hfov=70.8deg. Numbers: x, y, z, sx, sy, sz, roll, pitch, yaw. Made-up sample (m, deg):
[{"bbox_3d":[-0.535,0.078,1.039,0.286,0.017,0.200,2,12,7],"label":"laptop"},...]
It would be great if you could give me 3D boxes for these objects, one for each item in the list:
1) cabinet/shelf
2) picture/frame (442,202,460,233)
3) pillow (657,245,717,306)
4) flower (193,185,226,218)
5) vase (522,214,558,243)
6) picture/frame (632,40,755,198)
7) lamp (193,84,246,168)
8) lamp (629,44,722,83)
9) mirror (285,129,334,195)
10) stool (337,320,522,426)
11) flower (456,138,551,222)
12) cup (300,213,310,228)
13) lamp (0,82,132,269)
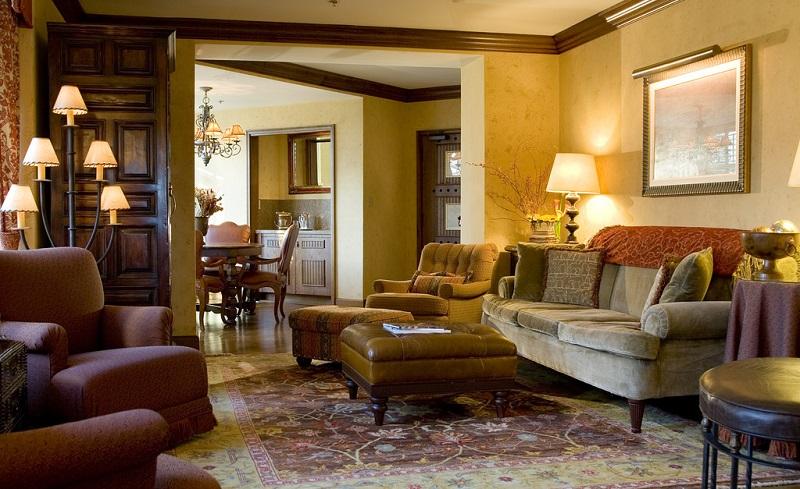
[{"bbox_3d":[-1.632,0.327,8.812,1.377,1.098,0.535,0,-3,16],"label":"cabinet/shelf"},{"bbox_3d":[0.823,-0.440,9.086,0.240,0.441,0.048,3,8,26],"label":"picture/frame"},{"bbox_3d":[2.128,0.236,4.112,0.392,0.400,0.299,0,6,5],"label":"pillow"},{"bbox_3d":[-2.720,-0.575,7.930,0.311,0.378,0.515,-2,6,-20],"label":"flower"},{"bbox_3d":[1.590,-0.169,6.255,0.344,0.251,0.323,-1,-4,8],"label":"vase"},{"bbox_3d":[2.652,-1.062,5.051,0.135,1.204,1.068,-3,7,-23],"label":"picture/frame"},{"bbox_3d":[-2.911,-1.839,9.151,0.774,1.121,1.531,-2,6,-16],"label":"lamp"},{"bbox_3d":[2.528,-1.711,5.155,0.124,0.099,0.795,-22,8,-29],"label":"lamp"},{"bbox_3d":[-1.567,-1.461,9.952,1.374,1.253,0.112,1,5,26],"label":"mirror"},{"bbox_3d":[0.159,0.747,4.270,1.151,0.483,0.761,0,3,-14],"label":"stool"},{"bbox_3d":[1.274,-0.734,6.830,0.924,0.950,0.550,-1,2,-31],"label":"flower"},{"bbox_3d":[-1.709,-0.407,10.008,0.170,0.265,0.444,-1,6,-10],"label":"cup"},{"bbox_3d":[-2.658,-0.550,4.483,0.826,1.530,1.304,-3,7,-26],"label":"lamp"}]
